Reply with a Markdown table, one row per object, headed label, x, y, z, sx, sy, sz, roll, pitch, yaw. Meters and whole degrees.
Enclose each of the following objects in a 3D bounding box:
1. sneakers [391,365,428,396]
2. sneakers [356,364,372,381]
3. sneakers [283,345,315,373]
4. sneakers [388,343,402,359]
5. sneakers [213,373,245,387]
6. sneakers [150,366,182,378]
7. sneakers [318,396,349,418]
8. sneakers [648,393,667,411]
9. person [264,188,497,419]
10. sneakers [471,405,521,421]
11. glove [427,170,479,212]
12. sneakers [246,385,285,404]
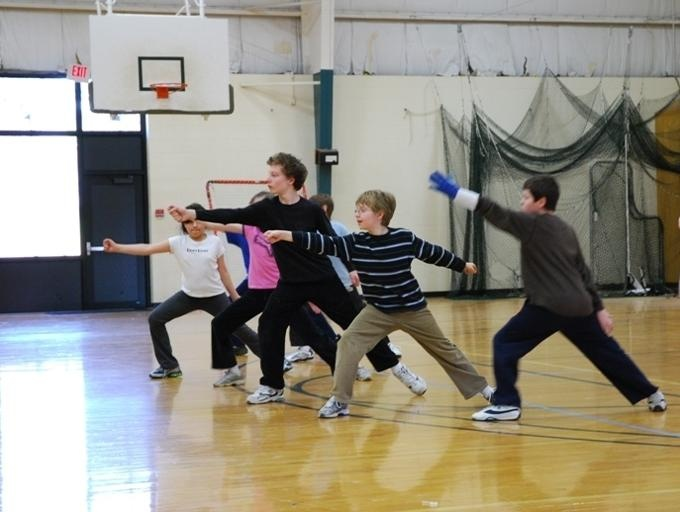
| label | x | y | z | sx | sy | sz | roll | pitch | yaw |
| --- | --- | --- | --- | --- | --- | --- | --- | --- | --- |
| sneakers | 0.566 | 1.033 | 6.266 | 0.268 | 0.096 | 0.113 | 43 | 2 | -10 |
| sneakers | 0.210 | 1.030 | 6.737 | 0.093 | 0.109 | 0.224 | -7 | 8 | -5 |
| sneakers | -0.434 | 0.970 | 7.317 | 0.127 | 0.147 | 0.355 | -3 | -3 | 37 |
| sneakers | 0.534 | 0.909 | 7.351 | 0.159 | 0.082 | 0.219 | 3 | 3 | 17 |
| sneakers | -0.952 | 1.065 | 6.557 | 0.281 | 0.121 | 0.097 | 1 | -4 | -19 |
| sneakers | -1.561 | 1.055 | 6.792 | 0.285 | 0.156 | 0.109 | 4 | -15 | -3 |
| sneakers | -0.037 | 1.130 | 5.670 | 0.105 | 0.134 | 0.257 | -8 | -9 | 44 |
| sneakers | 2.355 | 1.078 | 5.605 | 0.079 | 0.101 | 0.213 | -8 | 2 | 12 |
| person | 0.377 | 0.353 | 5.663 | 1.748 | 1.663 | 0.448 | 1 | -2 | -16 |
| sneakers | 1.141 | 1.132 | 5.520 | 0.358 | 0.170 | 0.135 | 1 | -4 | 1 |
| glove | 0.819 | -0.462 | 5.375 | 0.333 | 0.258 | 0.413 | 0 | 7 | 10 |
| sneakers | -0.590 | 1.099 | 6.048 | 0.322 | 0.168 | 0.125 | 1 | 0 | -15 |
